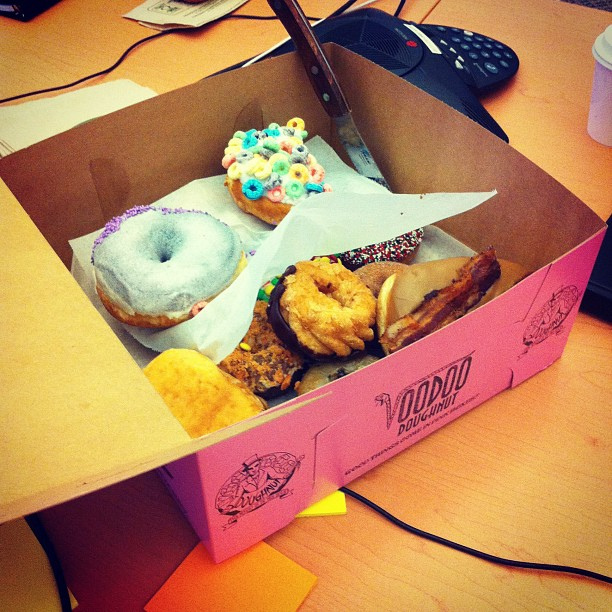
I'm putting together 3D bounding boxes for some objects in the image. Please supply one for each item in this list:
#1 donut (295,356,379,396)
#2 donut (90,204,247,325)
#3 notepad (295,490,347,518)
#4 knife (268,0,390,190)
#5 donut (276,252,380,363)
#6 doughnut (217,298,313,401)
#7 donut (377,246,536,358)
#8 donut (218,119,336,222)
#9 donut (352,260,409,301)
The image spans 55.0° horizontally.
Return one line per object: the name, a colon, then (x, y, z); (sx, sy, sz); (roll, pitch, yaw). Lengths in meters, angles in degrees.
donut: (0.027, 0.086, 0.733); (0.069, 0.018, 0.063); (-2, 26, 8)
donut: (-0.201, -0.056, 0.845); (0.219, 0.106, 0.193); (-10, 45, -8)
notepad: (0.014, 0.220, 0.649); (0.057, 0.007, 0.054); (-2, 41, 0)
knife: (0.040, -0.337, 0.950); (0.053, 0.268, 0.220); (-33, 54, -24)
donut: (0.008, 0.017, 0.777); (0.134, 0.047, 0.131); (-22, 65, -35)
doughnut: (-0.045, 0.070, 0.758); (0.131, 0.044, 0.128); (-1, 51, -15)
donut: (0.195, -0.027, 0.753); (0.184, 0.052, 0.132); (-25, 24, -32)
donut: (-0.045, -0.201, 0.990); (0.153, 0.067, 0.188); (-38, 65, -19)
donut: (0.107, -0.044, 0.841); (0.065, 0.019, 0.060); (-14, 27, -19)
